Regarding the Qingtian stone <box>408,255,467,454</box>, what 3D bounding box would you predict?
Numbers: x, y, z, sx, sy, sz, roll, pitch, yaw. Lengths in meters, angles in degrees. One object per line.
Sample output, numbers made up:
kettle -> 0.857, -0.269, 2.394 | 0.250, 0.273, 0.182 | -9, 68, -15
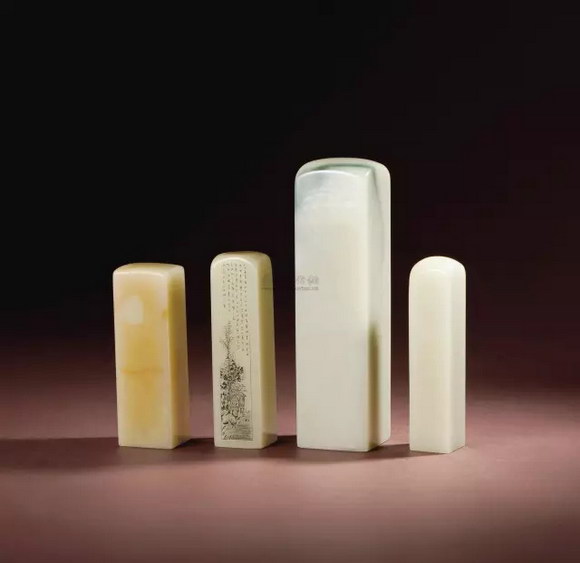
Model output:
Qingtian stone -> 0.474, 0.237, 2.192 | 0.211, 0.623, 0.148 | -1, 5, -5

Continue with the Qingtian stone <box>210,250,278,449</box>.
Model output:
Qingtian stone -> -0.148, 0.228, 2.222 | 0.208, 0.630, 0.258 | 0, 6, -2

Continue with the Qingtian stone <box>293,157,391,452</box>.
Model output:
Qingtian stone -> 0.188, 0.072, 2.249 | 0.347, 0.932, 0.259 | -1, 6, -7

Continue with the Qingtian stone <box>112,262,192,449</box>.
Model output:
Qingtian stone -> -0.451, 0.254, 2.290 | 0.237, 0.592, 0.128 | -2, 6, -16
